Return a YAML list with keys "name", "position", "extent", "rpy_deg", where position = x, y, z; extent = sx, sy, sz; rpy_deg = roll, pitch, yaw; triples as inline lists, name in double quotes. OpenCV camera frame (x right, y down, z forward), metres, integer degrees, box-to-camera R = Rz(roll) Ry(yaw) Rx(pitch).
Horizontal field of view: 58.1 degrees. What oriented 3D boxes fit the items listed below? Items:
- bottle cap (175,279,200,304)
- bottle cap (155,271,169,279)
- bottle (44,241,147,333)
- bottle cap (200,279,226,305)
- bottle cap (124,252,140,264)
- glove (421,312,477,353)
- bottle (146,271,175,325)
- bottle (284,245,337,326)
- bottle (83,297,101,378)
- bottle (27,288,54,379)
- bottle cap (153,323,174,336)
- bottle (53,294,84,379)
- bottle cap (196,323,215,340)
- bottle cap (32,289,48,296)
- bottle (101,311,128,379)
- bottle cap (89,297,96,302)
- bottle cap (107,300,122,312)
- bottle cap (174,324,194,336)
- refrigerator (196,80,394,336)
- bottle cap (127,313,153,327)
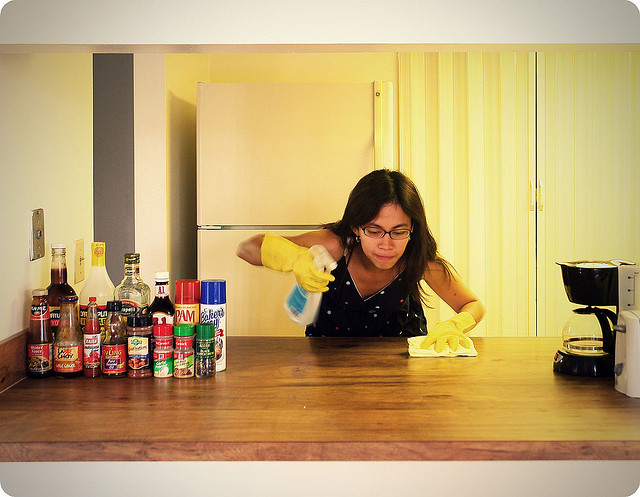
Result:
- name: "bottle cap"
  position: [-0.352, 0.113, 1.518]
  extent: [0.060, 0.057, 0.060]
  rpy_deg: [0, 3, -24]
- name: "bottle cap"
  position: [-0.426, 0.070, 1.551]
  extent: [0.038, 0.022, 0.038]
  rpy_deg: [1, 1, -2]
- name: "bottle"
  position: [-0.623, 0.140, 1.619]
  extent: [0.287, 0.280, 0.097]
  rpy_deg: [1, 7, 0]
- name: "bottle cap"
  position: [-0.279, 0.113, 1.504]
  extent: [0.064, 0.063, 0.060]
  rpy_deg: [2, 2, 41]
- name: "bottle cap"
  position: [-0.531, 0.026, 1.611]
  extent: [0.038, 0.038, 0.039]
  rpy_deg: [-1, 1, 7]
- name: "glove"
  position: [0.424, 0.273, 1.785]
  extent: [0.138, 0.078, 0.295]
  rpy_deg: [1, 18, 25]
- name: "bottle"
  position: [-0.440, 0.122, 1.576]
  extent: [0.074, 0.136, 0.180]
  rpy_deg: [-3, 10, -16]
- name: "bottle"
  position: [-0.038, 0.162, 2.072]
  extent: [0.104, 0.272, 0.121]
  rpy_deg: [26, -5, -39]
- name: "bottle"
  position: [-0.602, 0.235, 1.512]
  extent: [0.044, 0.210, 0.044]
  rpy_deg: [0, 9, 0]
- name: "bottle"
  position: [-0.739, 0.224, 1.516]
  extent: [0.066, 0.231, 0.069]
  rpy_deg: [0, 10, 0]
- name: "bottle cap"
  position: [-0.403, 0.213, 1.484]
  extent: [0.031, 0.018, 0.031]
  rpy_deg: [0, 3, -22]
- name: "bottle"
  position: [-0.660, 0.234, 1.504]
  extent: [0.076, 0.215, 0.049]
  rpy_deg: [-4, 10, -25]
- name: "bottle cap"
  position: [-0.294, 0.214, 1.476]
  extent: [0.038, 0.030, 0.039]
  rpy_deg: [5, 9, 27]
- name: "bottle cap"
  position: [-0.738, 0.116, 1.517]
  extent: [0.036, 0.017, 0.053]
  rpy_deg: [-5, 11, -26]
- name: "bottle"
  position: [-0.552, 0.248, 1.538]
  extent: [0.066, 0.173, 0.117]
  rpy_deg: [-4, 10, -22]
- name: "bottle cap"
  position: [-0.595, 0.134, 1.505]
  extent: [0.011, 0.009, 0.012]
  rpy_deg: [1, -1, 9]
- name: "bottle cap"
  position: [-0.535, 0.151, 1.498]
  extent: [0.029, 0.022, 0.030]
  rpy_deg: [-5, 10, -40]
- name: "bottle cap"
  position: [-0.348, 0.211, 1.473]
  extent: [0.032, 0.019, 0.032]
  rpy_deg: [1, 2, -17]
- name: "refrigerator"
  position: [0.084, -0.232, 3.684]
  extent: [1.109, 2.109, 1.121]
  rpy_deg: [2, 2, 7]
- name: "bottle cap"
  position: [-0.473, 0.188, 1.503]
  extent: [0.061, 0.032, 0.048]
  rpy_deg: [5, 11, 27]
